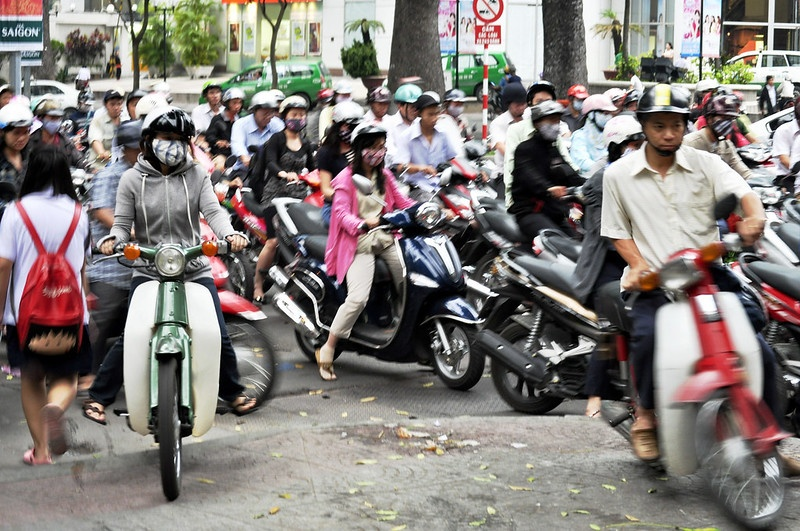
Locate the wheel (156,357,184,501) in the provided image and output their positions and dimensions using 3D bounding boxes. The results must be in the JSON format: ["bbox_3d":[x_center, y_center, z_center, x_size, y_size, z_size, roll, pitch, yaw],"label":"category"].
[{"bbox_3d":[-1.383,0.983,4.590,0.151,0.853,0.373,-3,6,-17],"label":"wheel"}]

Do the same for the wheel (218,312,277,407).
[{"bbox_3d":[-1.240,0.787,6.156,0.628,0.638,0.149,16,20,28],"label":"wheel"}]

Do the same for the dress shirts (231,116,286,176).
[{"bbox_3d":[-2.092,-1.750,10.841,1.008,0.672,0.594,5,9,43],"label":"dress shirts"}]

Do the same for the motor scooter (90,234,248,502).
[{"bbox_3d":[-1.373,0.624,4.811,0.693,1.536,0.830,-4,6,-20],"label":"motor scooter"}]

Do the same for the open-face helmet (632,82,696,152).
[{"bbox_3d":[1.557,-0.925,4.523,0.251,0.272,0.326,3,4,23],"label":"open-face helmet"}]

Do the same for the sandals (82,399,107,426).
[{"bbox_3d":[-2.251,1.067,5.655,0.156,0.167,0.418,-1,2,-31],"label":"sandals"}]

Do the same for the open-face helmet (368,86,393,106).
[{"bbox_3d":[-0.290,-2.364,10.720,0.318,0.301,0.246,-17,-25,39],"label":"open-face helmet"}]

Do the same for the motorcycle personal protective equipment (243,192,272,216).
[{"bbox_3d":[-1.881,-0.786,9.874,0.434,0.282,0.224,26,46,39],"label":"motorcycle personal protective equipment"}]

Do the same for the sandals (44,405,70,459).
[{"bbox_3d":[-2.259,1.086,5.071,0.119,0.362,0.147,-1,-1,-16],"label":"sandals"}]

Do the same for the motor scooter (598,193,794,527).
[{"bbox_3d":[1.870,0.568,4.476,0.716,1.219,1.740,-11,6,-10],"label":"motor scooter"}]

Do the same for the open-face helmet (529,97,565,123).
[{"bbox_3d":[1.433,-1.526,7.527,0.255,0.230,0.197,-15,13,3],"label":"open-face helmet"}]

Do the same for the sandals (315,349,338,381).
[{"bbox_3d":[-0.717,0.944,7.478,0.126,0.167,0.393,-7,33,-31],"label":"sandals"}]

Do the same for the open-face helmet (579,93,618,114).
[{"bbox_3d":[2.469,-2.052,9.781,0.536,0.271,0.350,4,9,28],"label":"open-face helmet"}]

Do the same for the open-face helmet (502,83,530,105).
[{"bbox_3d":[1.653,-2.490,11.129,0.387,0.359,0.293,-16,8,-6],"label":"open-face helmet"}]

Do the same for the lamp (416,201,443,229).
[{"bbox_3d":[0.256,-0.451,6.870,0.176,0.247,0.088,32,35,-1],"label":"lamp"}]

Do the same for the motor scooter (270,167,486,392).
[{"bbox_3d":[-0.306,0.134,7.342,2.429,1.630,1.185,10,9,29],"label":"motor scooter"}]

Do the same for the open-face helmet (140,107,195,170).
[{"bbox_3d":[-1.609,-0.901,5.263,0.355,0.437,0.437,-6,18,-43],"label":"open-face helmet"}]

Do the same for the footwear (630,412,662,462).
[{"bbox_3d":[1.473,1.036,4.620,0.148,0.201,0.311,-1,11,12],"label":"footwear"}]

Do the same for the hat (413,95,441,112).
[{"bbox_3d":[0.329,-1.975,9.341,0.246,0.201,0.186,9,11,38],"label":"hat"}]

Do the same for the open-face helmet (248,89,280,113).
[{"bbox_3d":[-1.876,-2.295,10.636,0.372,0.302,0.285,-11,20,-19],"label":"open-face helmet"}]

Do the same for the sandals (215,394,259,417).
[{"bbox_3d":[-1.151,0.996,5.467,0.375,0.165,0.128,-2,12,-14],"label":"sandals"}]

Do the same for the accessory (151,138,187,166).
[{"bbox_3d":[-1.532,-0.761,5.113,0.180,0.115,0.194,14,3,-28],"label":"accessory"}]

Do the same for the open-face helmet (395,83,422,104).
[{"bbox_3d":[0.082,-2.300,10.263,0.365,0.196,0.264,8,17,26],"label":"open-face helmet"}]
